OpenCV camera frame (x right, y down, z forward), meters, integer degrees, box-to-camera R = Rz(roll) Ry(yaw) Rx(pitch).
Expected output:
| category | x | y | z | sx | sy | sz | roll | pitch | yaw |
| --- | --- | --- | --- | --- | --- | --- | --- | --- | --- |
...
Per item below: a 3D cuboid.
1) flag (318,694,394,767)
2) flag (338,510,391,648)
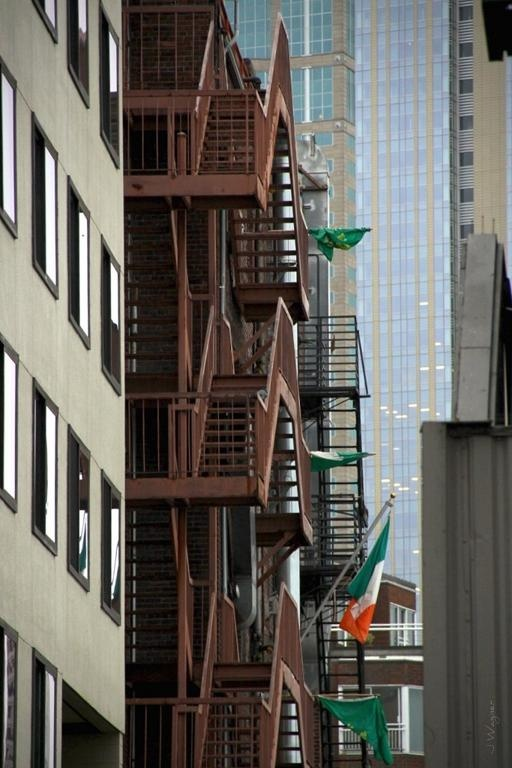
| category | x | y | z | sx | sy | sz | roll | pitch | yaw |
| --- | --- | --- | --- | --- | --- | --- | --- | --- | --- |
| flag | 1.549 | 5.418 | 36.297 | 0.896 | 1.212 | 2.880 | -5 | -12 | 1 |
| flag | 1.447 | 2.681 | 31.691 | 0.724 | 1.582 | 2.196 | -4 | -11 | 2 |
